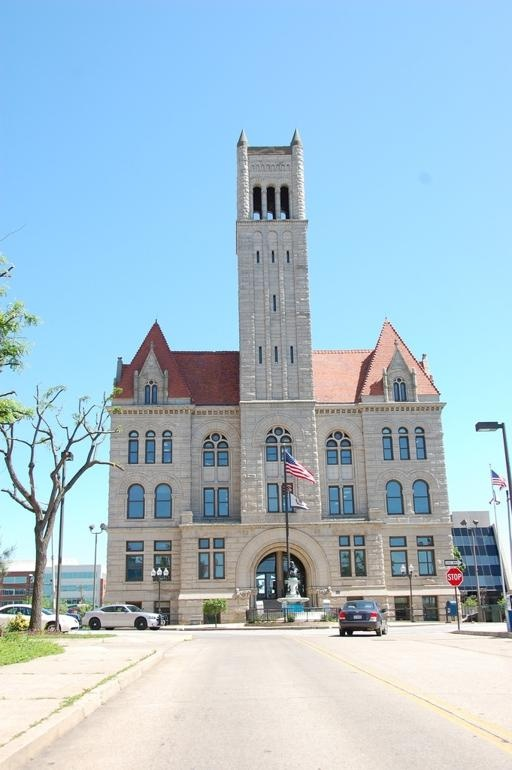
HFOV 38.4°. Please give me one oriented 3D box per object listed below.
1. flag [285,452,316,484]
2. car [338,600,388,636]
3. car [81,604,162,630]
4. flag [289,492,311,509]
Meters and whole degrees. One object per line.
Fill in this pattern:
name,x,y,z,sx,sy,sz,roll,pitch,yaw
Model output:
flag,2.819,5.324,46.958,2.024,1.983,0.233,31,-60,-19
car,4.022,8.694,27.549,1.098,0.815,2.554,-2,-14,12
car,-6.948,12.049,38.297,3.800,1.246,1.478,1,-17,-9
flag,2.726,7.288,46.393,1.396,1.363,0.148,11,-32,-24
